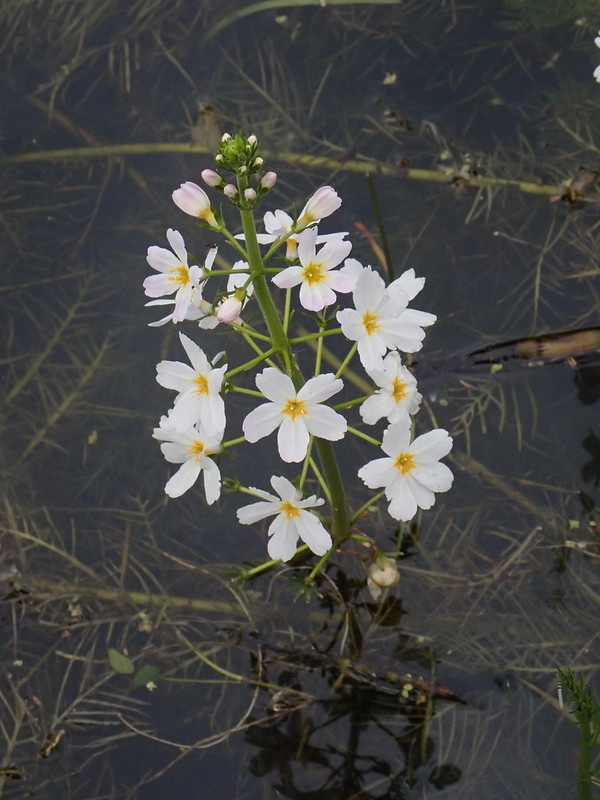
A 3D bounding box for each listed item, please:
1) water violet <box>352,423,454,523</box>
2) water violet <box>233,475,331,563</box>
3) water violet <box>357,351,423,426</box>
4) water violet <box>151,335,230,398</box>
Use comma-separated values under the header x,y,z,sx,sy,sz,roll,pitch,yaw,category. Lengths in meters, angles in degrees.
x,y,z,sx,sy,sz,roll,pitch,yaw,category
0.494,0.287,3.979,0.488,0.445,0.121,34,118,18,water violet
-0.014,0.515,4.154,0.465,0.180,0.422,32,126,6,water violet
0.425,-0.037,4.032,0.088,0.361,0.324,-5,59,41,water violet
-0.468,-0.139,3.812,0.318,0.134,0.288,-5,102,40,water violet
